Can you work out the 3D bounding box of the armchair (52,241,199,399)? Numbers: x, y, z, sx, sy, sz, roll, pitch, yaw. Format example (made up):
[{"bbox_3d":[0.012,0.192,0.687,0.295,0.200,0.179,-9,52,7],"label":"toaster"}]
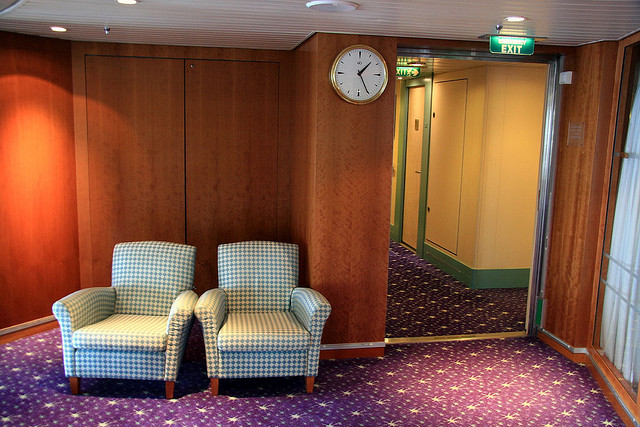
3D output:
[{"bbox_3d":[-2.125,1.116,5.573,1.507,1.431,1.596,2,0,-22],"label":"armchair"}]

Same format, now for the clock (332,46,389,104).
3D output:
[{"bbox_3d":[0.425,-1.570,5.518,0.688,0.648,0.087,-2,4,-13],"label":"clock"}]

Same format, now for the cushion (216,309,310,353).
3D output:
[{"bbox_3d":[-0.715,1.290,5.493,1.054,0.226,1.082,3,2,-21],"label":"cushion"}]

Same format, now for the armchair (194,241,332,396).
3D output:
[{"bbox_3d":[-0.643,1.113,5.739,1.556,1.588,1.516,0,-3,-5],"label":"armchair"}]

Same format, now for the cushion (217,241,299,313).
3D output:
[{"bbox_3d":[-0.731,0.738,5.751,0.911,0.798,0.202,2,-5,-4],"label":"cushion"}]
